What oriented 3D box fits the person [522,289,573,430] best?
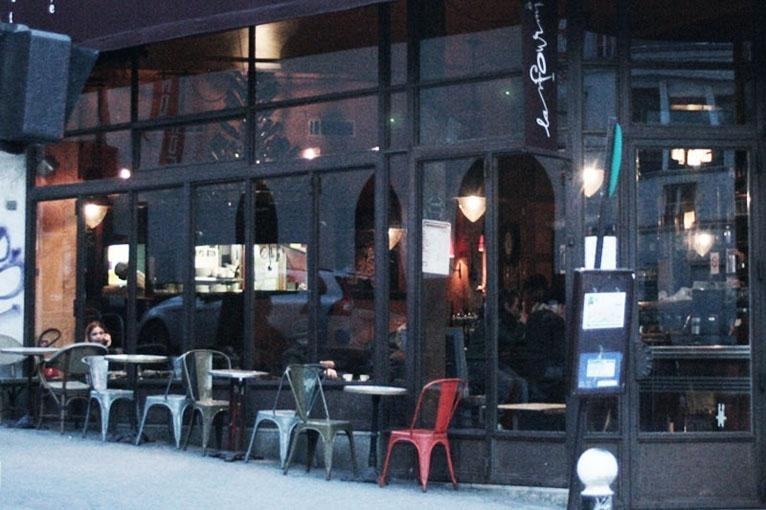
[{"bbox_3d":[1.968,1.113,16.438,0.489,1.381,0.168,1,-8,6],"label":"person"}]

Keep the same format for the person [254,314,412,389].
[{"bbox_3d":[-0.809,1.261,17.721,1.321,0.564,0.964,2,-3,21],"label":"person"}]

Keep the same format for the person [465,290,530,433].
[{"bbox_3d":[1.396,1.277,16.570,0.751,1.699,0.245,1,-8,6],"label":"person"}]
